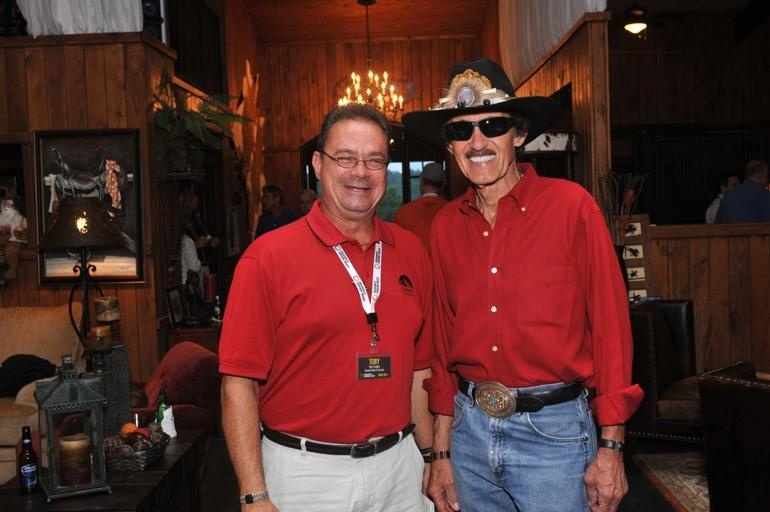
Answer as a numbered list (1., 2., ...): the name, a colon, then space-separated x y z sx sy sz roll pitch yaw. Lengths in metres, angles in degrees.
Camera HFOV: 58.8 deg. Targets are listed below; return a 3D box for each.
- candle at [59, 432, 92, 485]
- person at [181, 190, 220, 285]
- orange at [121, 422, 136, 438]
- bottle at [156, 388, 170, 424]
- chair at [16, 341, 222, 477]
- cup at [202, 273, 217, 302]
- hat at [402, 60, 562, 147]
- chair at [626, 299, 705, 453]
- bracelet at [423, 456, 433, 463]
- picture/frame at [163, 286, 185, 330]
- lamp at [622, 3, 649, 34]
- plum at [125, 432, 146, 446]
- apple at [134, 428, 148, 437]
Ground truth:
1. candle: -1.880 1.238 4.111 0.157 0.261 0.156 -2 -3 -8
2. person: -2.130 -0.252 7.780 0.391 0.953 1.547 -3 0 -14
3. orange: -1.674 1.128 4.426 0.079 0.080 0.080 24 -41 5
4. bottle: -1.543 1.033 4.683 0.096 0.209 0.174 -3 0 -19
5. chair: -1.762 1.127 4.994 0.951 0.916 0.888 0 -1 -2
6. cup: -1.850 0.333 7.114 0.121 0.272 0.090 -3 0 -32
7. hat: 0.512 -0.896 3.920 0.917 0.387 1.001 -1 1 23
8. chair: 2.436 0.976 5.947 0.830 1.128 0.797 1 -5 -44
9. bracelet: 0.229 1.124 3.772 0.044 0.043 0.010 -3 -1 4
10. picture/frame: -2.056 0.488 6.644 0.017 0.400 0.551 -13 -2 -31
11. lamp: 3.495 -3.375 9.526 0.321 0.463 0.331 -3 0 -22
12. plum: -1.604 1.160 4.329 0.084 0.103 0.082 6 0 14
13. apple: -1.593 1.131 4.397 0.060 0.058 0.060 10 12 36
